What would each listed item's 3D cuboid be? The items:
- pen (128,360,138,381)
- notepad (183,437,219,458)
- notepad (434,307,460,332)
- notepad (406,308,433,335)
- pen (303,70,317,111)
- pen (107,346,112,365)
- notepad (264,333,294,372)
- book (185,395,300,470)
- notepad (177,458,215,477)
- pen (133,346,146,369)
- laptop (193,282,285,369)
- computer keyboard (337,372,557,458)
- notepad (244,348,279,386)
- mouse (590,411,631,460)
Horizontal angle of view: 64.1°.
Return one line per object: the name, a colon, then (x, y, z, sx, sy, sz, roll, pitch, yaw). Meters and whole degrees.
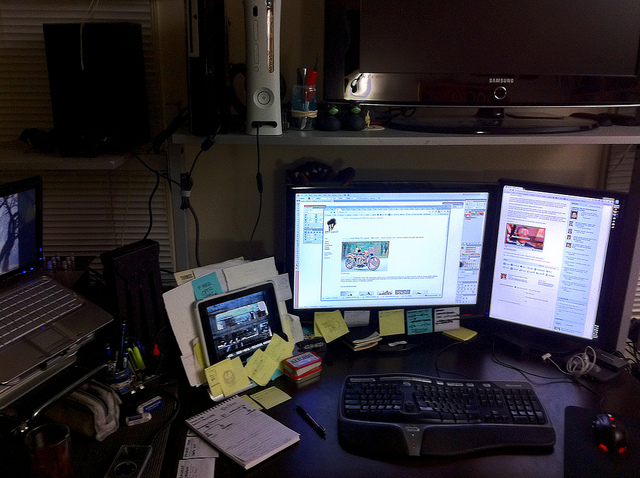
pen: (-0.524, 0.362, 1.428, 0.007, 0.051, 0.007, -17, 16, 22)
notepad: (-0.301, 0.528, 1.299, 0.086, 0.015, 0.061, -1, 19, -4)
notepad: (0.416, 0.262, 1.696, 0.086, 0.071, 0.012, -2, 16, -6)
notepad: (0.323, 0.268, 1.685, 0.083, 0.077, 0.009, -7, 8, -6)
pen: (-0.037, -0.455, 1.583, 0.038, 0.116, 0.026, -2, 19, -7)
pen: (-0.581, 0.318, 1.401, 0.011, 0.031, 0.046, -8, 20, -22)
notepad: (-0.135, 0.347, 1.540, 0.024, 0.102, 0.097, -13, 40, 55)
book: (-0.212, 0.503, 1.344, 0.242, 0.032, 0.183, 16, 17, 33)
notepad: (-0.305, 0.558, 1.249, 0.087, 0.013, 0.050, -2, 19, -6)
pen: (-0.512, 0.334, 1.437, 0.027, 0.064, 0.021, 4, 19, 10)
laptop: (-0.191, 0.264, 1.451, 0.256, 0.227, 0.202, -15, 7, -28)
computer keyboard: (0.337, 0.479, 1.419, 0.568, 0.087, 0.265, 0, 17, 7)
notepad: (-0.179, 0.375, 1.506, 0.054, 0.089, 0.089, 14, 23, 35)
mouse: (0.767, 0.508, 1.358, 0.073, 0.044, 0.123, 5, 38, 4)
